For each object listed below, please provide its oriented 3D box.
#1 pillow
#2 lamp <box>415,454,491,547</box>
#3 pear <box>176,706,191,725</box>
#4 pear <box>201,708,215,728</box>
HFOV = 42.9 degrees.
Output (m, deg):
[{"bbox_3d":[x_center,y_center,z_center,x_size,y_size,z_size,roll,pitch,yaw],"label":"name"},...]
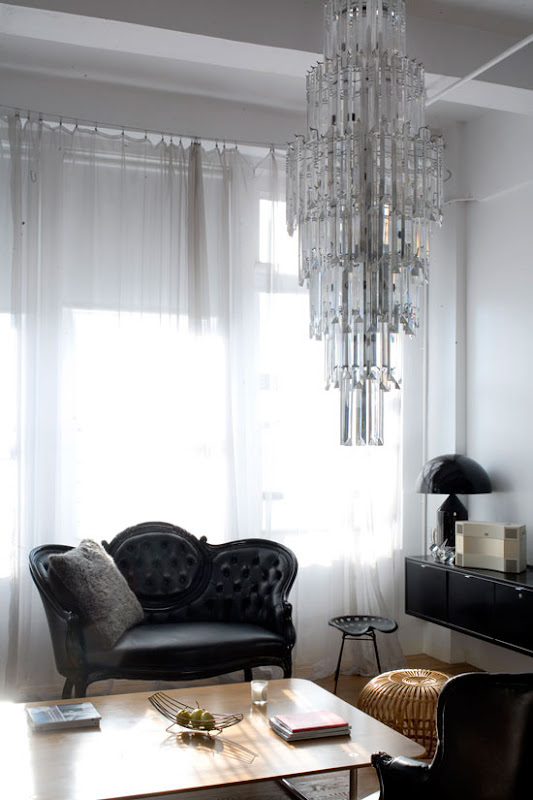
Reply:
[{"bbox_3d":[-0.797,0.900,3.165,0.305,0.411,0.497,1,-4,6],"label":"pillow"},{"bbox_3d":[1.113,0.609,4.028,0.417,0.566,0.374,-1,-5,34],"label":"lamp"},{"bbox_3d":[-0.261,0.995,2.148,0.035,0.048,0.038,0,-3,32],"label":"pear"},{"bbox_3d":[-0.176,0.999,2.135,0.031,0.061,0.035,-10,-9,27],"label":"pear"}]
